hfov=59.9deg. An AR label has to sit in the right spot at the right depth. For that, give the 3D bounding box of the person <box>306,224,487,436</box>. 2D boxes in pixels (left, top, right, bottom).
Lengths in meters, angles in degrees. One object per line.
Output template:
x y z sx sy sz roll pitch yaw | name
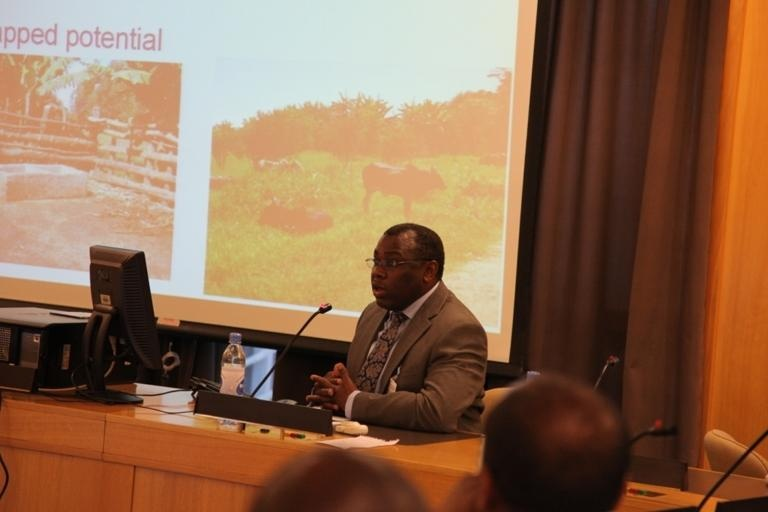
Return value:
0.067 0.364 3.455 0.876 1.032 1.273 10 -12 -29 | person

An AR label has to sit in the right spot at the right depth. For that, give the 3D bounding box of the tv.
-1.231 0.306 3.133 0.340 0.690 0.464 2 4 -24 | tv
